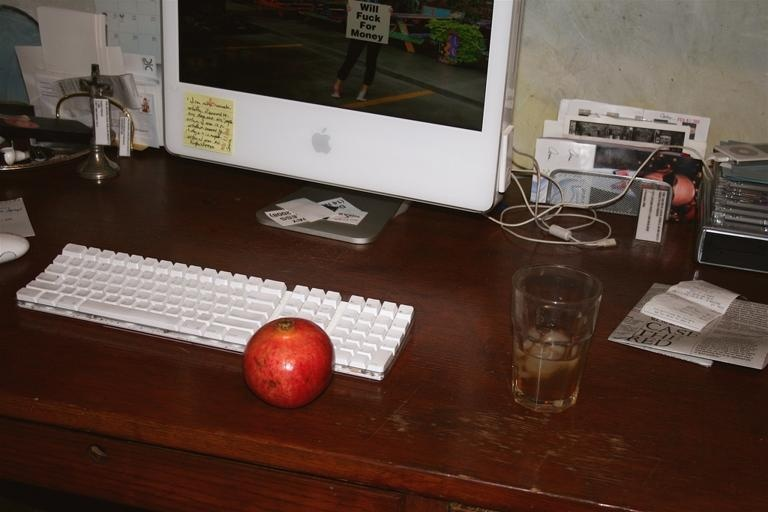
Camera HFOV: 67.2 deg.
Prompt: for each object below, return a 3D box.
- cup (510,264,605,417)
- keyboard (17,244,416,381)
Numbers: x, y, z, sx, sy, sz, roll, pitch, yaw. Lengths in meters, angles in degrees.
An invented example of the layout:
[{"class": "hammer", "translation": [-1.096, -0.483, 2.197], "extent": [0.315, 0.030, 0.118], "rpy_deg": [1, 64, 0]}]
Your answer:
[{"class": "cup", "translation": [0.249, 0.127, 0.837], "extent": [0.128, 0.174, 0.124], "rpy_deg": [0, 32, 0]}, {"class": "keyboard", "translation": [-0.278, 0.078, 0.913], "extent": [0.672, 0.053, 0.171], "rpy_deg": [9, 30, 12]}]
